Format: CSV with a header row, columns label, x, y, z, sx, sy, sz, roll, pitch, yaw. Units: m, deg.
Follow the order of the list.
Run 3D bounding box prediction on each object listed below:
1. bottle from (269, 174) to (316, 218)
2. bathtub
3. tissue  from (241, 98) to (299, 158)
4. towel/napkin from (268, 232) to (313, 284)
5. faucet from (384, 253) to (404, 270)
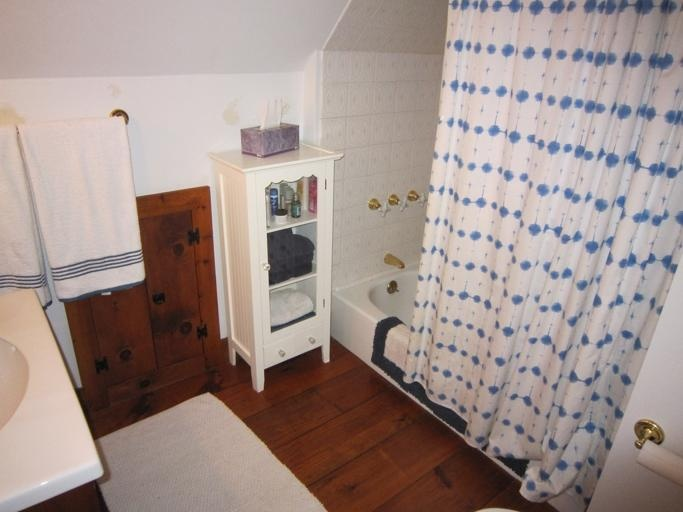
label,x,y,z,sx,sy,sz,roll,pitch,yaw
bottle,-0.259,-0.309,2.590,0.156,0.161,0.083,-15,39,-27
bathtub,0.397,0.895,3.438,0.874,0.348,1.627,-11,32,-37
tissue ,-0.360,-0.658,2.576,0.145,0.262,0.273,16,26,34
towel/napkin,-0.281,-0.011,2.668,0.242,0.121,0.246,-12,22,-37
faucet,0.348,0.031,3.323,0.077,0.073,0.134,-19,31,-36
